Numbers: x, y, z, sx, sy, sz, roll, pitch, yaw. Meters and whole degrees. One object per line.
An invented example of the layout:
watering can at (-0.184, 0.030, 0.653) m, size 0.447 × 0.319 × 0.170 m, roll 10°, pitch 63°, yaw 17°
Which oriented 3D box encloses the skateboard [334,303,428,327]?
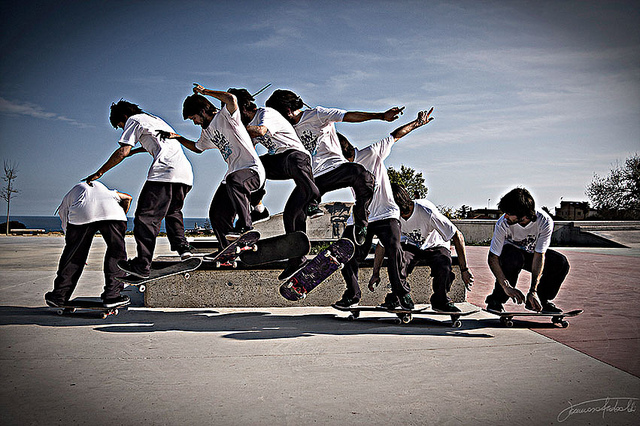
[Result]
skateboard at (0.758, 1.378, 6.548) m, size 1.567 × 0.239 × 0.460 m, roll -1°, pitch 1°, yaw 13°

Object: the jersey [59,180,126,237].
jersey at (-3.202, -0.026, 6.525) m, size 0.766 × 0.607 × 0.376 m, roll -6°, pitch 9°, yaw -6°

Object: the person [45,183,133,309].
person at (-3.303, 0.521, 6.769) m, size 1.110 × 1.918 × 0.594 m, roll 0°, pitch 7°, yaw 0°

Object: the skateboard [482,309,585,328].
skateboard at (2.966, 1.347, 6.204) m, size 1.529 × 0.244 × 0.391 m, roll 0°, pitch -5°, yaw 3°

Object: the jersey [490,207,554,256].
jersey at (2.659, 0.258, 6.142) m, size 0.533 × 0.695 × 0.537 m, roll 19°, pitch 3°, yaw 30°

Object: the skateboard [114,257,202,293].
skateboard at (-2.374, 0.889, 6.841) m, size 1.133 × 0.182 × 0.293 m, roll -14°, pitch 38°, yaw -6°

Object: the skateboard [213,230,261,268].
skateboard at (-1.235, 0.587, 6.664) m, size 0.314 × 0.168 × 1.014 m, roll 9°, pitch -32°, yaw -37°

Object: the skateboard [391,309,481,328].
skateboard at (1.537, 1.364, 6.267) m, size 1.315 × 0.200 × 0.392 m, roll -1°, pitch -3°, yaw 8°

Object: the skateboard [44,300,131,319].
skateboard at (-3.333, 1.323, 6.723) m, size 1.221 × 0.196 × 0.324 m, roll 1°, pitch 13°, yaw 5°
